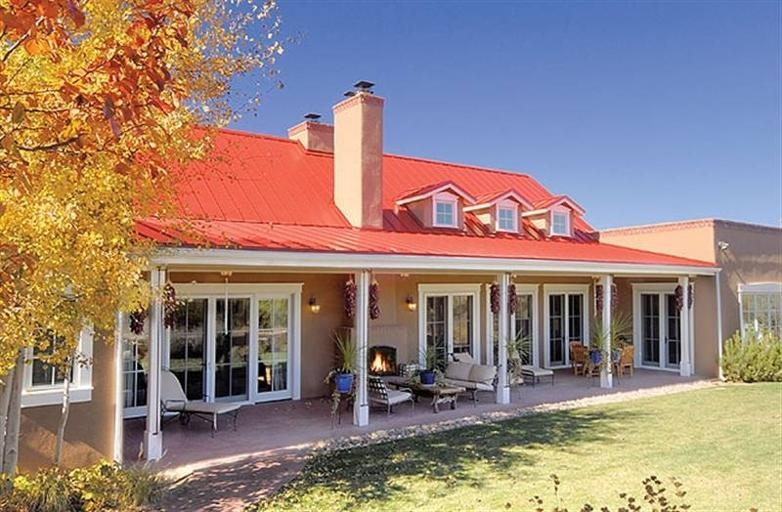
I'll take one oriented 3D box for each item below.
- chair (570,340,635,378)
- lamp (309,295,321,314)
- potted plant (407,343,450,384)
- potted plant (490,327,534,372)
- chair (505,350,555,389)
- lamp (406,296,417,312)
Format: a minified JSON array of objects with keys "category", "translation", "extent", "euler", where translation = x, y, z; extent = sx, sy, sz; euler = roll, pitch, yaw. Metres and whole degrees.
[{"category":"chair","translation":[6.720,3.311,20.938],"extent":[1.515,0.918,1.235],"euler":[-1,-4,-1]},{"category":"lamp","translation":[-1.996,1.290,17.565],"extent":[0.341,0.453,0.159],"euler":[-2,5,-36]},{"category":"potted plant","translation":[1.059,2.938,17.954],"extent":[0.921,0.910,0.934],"euler":[4,-10,-10]},{"category":"potted plant","translation":[3.920,2.783,20.047],"extent":[1.119,1.230,1.214],"euler":[2,-11,-5]},{"category":"chair","translation":[3.846,3.262,19.203],"extent":[0.919,1.003,1.702],"euler":[2,-6,-22]},{"category":"lamp","translation":[0.617,1.373,19.039],"extent":[0.150,0.460,0.416],"euler":[4,5,40]}]
